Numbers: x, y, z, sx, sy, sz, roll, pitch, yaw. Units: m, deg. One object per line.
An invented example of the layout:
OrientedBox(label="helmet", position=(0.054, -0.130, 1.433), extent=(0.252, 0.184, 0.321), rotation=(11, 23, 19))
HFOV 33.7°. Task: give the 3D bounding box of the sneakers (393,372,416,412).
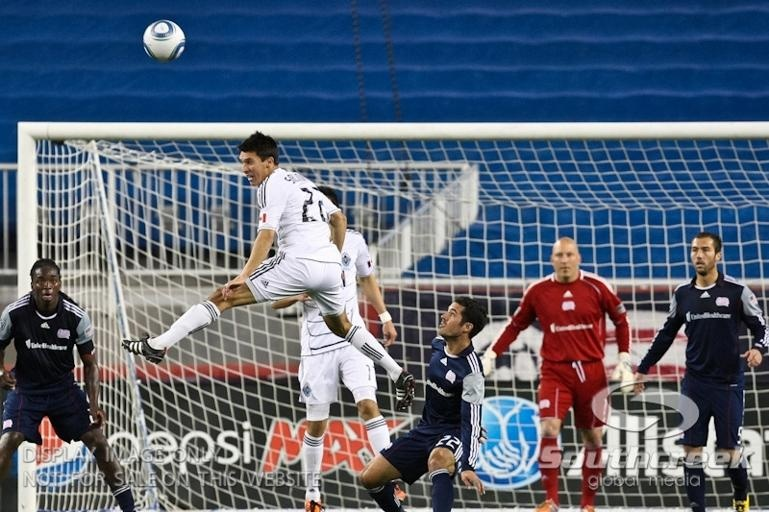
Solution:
OrientedBox(label="sneakers", position=(0.235, 1.425, 13.096), extent=(0.174, 0.421, 0.208), rotation=(1, 19, -27))

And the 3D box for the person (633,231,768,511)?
OrientedBox(label="person", position=(3.473, 1.237, 13.609), extent=(1.244, 2.926, 0.584), rotation=(-2, -10, 9))

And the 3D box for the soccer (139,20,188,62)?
OrientedBox(label="soccer", position=(-2.384, -2.376, 13.840), extent=(0.405, 0.473, 0.301), rotation=(-1, -10, 3))

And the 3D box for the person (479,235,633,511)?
OrientedBox(label="person", position=(1.960, 1.271, 13.690), extent=(1.397, 2.900, 0.531), rotation=(-1, -9, 4))

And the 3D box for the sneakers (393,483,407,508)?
OrientedBox(label="sneakers", position=(0.170, 2.597, 14.030), extent=(0.129, 0.163, 0.370), rotation=(1, 9, -4))
